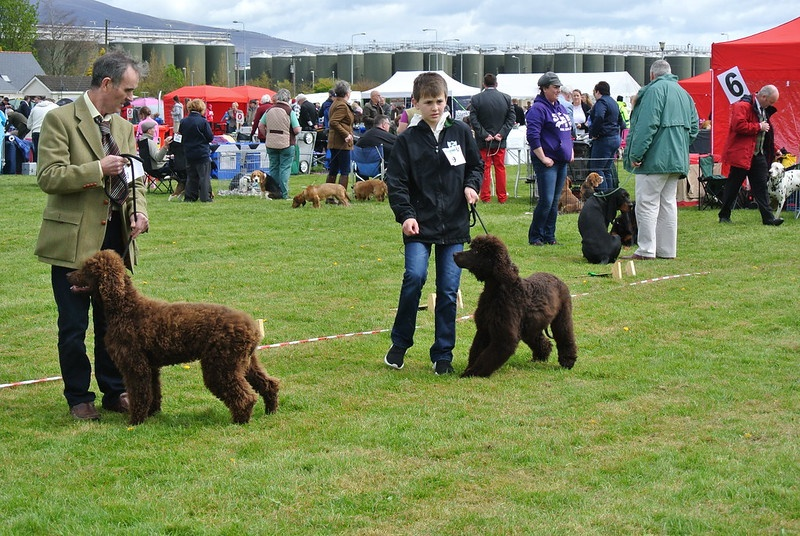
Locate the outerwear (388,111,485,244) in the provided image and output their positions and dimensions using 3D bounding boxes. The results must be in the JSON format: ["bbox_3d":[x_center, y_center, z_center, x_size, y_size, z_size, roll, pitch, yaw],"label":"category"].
[{"bbox_3d":[0.435,-1.005,12.353,1.111,1.587,0.813,-4,-4,-9],"label":"outerwear"}]

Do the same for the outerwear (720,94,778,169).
[{"bbox_3d":[6.242,-2.377,19.392,1.008,1.752,1.315,3,13,33],"label":"outerwear"}]

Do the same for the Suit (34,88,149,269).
[{"bbox_3d":[-3.334,-0.905,11.224,1.062,1.852,0.526,-3,6,-24],"label":"Suit"}]

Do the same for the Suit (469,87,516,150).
[{"bbox_3d":[1.829,-2.611,20.902,0.802,2.216,0.622,-3,33,2],"label":"Suit"}]

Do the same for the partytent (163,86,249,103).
[{"bbox_3d":[-6.983,-6.559,39.589,1.788,0.559,2.504,-1,6,1],"label":"partytent"}]

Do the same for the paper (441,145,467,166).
[{"bbox_3d":[0.600,-1.301,12.108,0.164,0.205,0.009,-24,4,-34],"label":"paper"}]

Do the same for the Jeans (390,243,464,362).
[{"bbox_3d":[0.354,0.342,12.392,0.701,0.547,1.722,5,46,6],"label":"Jeans"}]

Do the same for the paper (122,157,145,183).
[{"bbox_3d":[-2.863,-1.073,11.394,0.175,0.230,0.235,0,2,-15],"label":"paper"}]
